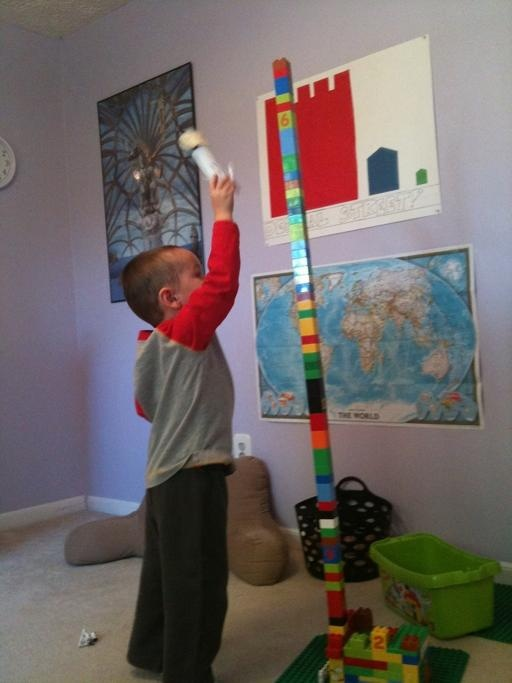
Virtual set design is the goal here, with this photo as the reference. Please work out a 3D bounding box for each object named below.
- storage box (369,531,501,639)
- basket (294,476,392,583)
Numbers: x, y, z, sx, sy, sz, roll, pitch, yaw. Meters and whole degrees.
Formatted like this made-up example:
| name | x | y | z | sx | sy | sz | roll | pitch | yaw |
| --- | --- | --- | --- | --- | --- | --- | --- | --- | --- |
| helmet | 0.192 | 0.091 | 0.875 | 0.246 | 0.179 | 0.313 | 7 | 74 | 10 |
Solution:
| name | x | y | z | sx | sy | sz | roll | pitch | yaw |
| --- | --- | --- | --- | --- | --- | --- | --- | --- | --- |
| storage box | 0.517 | 0.698 | 1.662 | 0.245 | 0.165 | 0.336 | -2 | 2 | -26 |
| basket | 0.313 | 0.670 | 2.134 | 0.333 | 0.287 | 0.319 | -6 | -14 | 19 |
